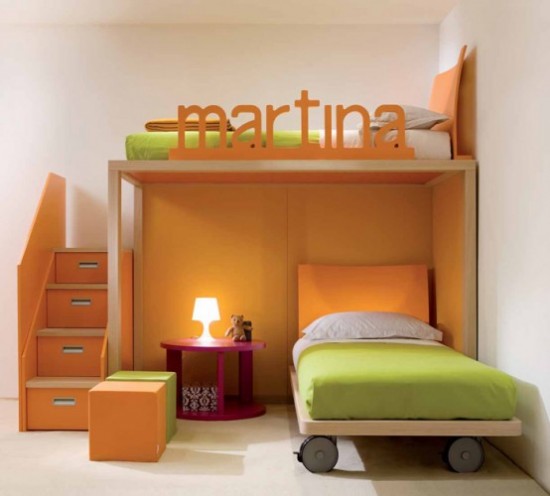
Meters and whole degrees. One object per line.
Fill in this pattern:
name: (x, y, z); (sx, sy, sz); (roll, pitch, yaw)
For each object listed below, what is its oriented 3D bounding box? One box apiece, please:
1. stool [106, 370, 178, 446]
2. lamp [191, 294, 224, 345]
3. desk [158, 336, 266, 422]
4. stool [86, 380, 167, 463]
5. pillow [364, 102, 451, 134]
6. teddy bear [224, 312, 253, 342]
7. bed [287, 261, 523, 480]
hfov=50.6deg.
stool: (-0.820, 1.094, 3.849); (0.499, 0.535, 0.373); (-1, -6, 1)
lamp: (-0.529, 0.558, 4.471); (0.272, 0.446, 0.283); (1, -2, -39)
desk: (-0.450, 1.028, 4.536); (0.730, 0.524, 0.772); (2, -8, -26)
stool: (-0.904, 1.051, 3.609); (0.409, 0.438, 0.419); (0, -2, 1)
pillow: (0.968, -0.927, 4.194); (0.353, 0.121, 0.366); (-15, 9, -33)
teddy bear: (-0.279, 0.641, 4.539); (0.281, 0.299, 0.168); (1, -13, -9)
bed: (0.759, 0.721, 3.958); (1.301, 1.114, 1.652); (0, 2, 0)
